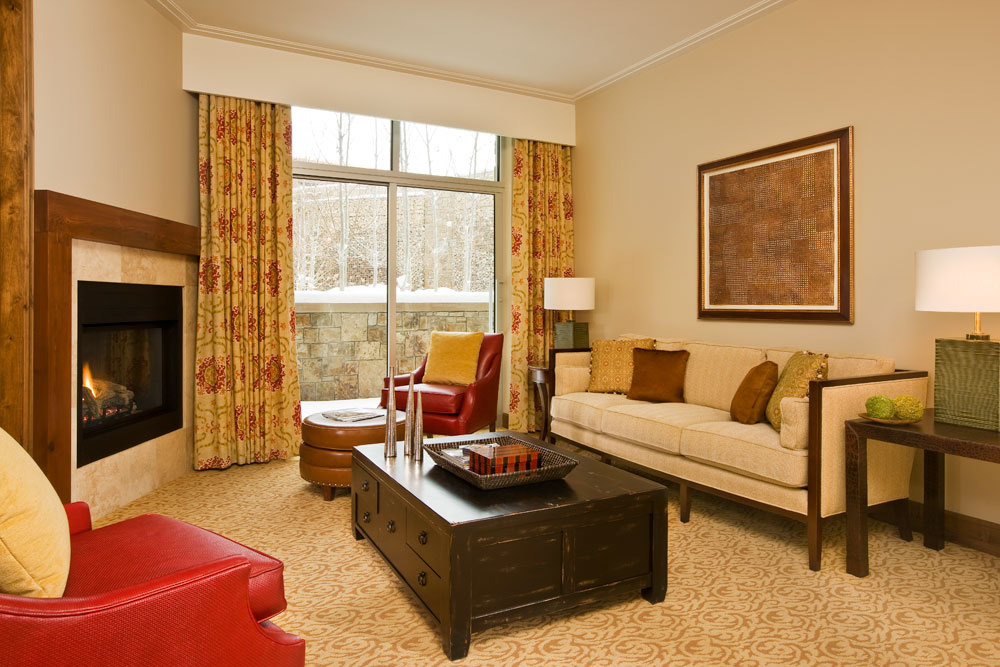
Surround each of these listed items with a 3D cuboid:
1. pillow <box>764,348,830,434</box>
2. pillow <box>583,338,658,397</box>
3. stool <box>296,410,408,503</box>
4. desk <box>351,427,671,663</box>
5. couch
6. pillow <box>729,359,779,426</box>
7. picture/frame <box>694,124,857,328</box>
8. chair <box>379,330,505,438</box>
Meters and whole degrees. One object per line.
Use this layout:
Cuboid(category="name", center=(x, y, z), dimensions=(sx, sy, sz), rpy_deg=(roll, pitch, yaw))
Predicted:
Cuboid(category="pillow", center=(1.922, 0.364, 4.587), dimensions=(0.336, 0.479, 0.405), rpy_deg=(6, 15, 25))
Cuboid(category="pillow", center=(0.930, 0.250, 5.805), dimensions=(0.491, 0.459, 0.148), rpy_deg=(5, -9, 39))
Cuboid(category="stool", center=(-1.141, 0.816, 5.090), dimensions=(0.684, 0.429, 0.661), rpy_deg=(1, 4, -4))
Cuboid(category="desk", center=(0.128, 1.064, 3.736), dimensions=(1.021, 0.465, 1.299), rpy_deg=(-1, 2, -27))
Cuboid(category="couch", center=(1.474, 0.648, 5.395), dimensions=(1.122, 1.129, 2.799), rpy_deg=(-2, 3, -30))
Cuboid(category="pillow", center=(1.730, 0.407, 4.780), dimensions=(0.167, 0.257, 0.327), rpy_deg=(10, -38, 4))
Cuboid(category="picture/frame", center=(2.096, -0.811, 5.274), dimensions=(0.129, 1.722, 1.654), rpy_deg=(5, -4, -40))
Cuboid(category="chair", center=(-0.351, 0.461, 6.352), dimensions=(0.828, 1.122, 1.044), rpy_deg=(-2, -8, 26))
